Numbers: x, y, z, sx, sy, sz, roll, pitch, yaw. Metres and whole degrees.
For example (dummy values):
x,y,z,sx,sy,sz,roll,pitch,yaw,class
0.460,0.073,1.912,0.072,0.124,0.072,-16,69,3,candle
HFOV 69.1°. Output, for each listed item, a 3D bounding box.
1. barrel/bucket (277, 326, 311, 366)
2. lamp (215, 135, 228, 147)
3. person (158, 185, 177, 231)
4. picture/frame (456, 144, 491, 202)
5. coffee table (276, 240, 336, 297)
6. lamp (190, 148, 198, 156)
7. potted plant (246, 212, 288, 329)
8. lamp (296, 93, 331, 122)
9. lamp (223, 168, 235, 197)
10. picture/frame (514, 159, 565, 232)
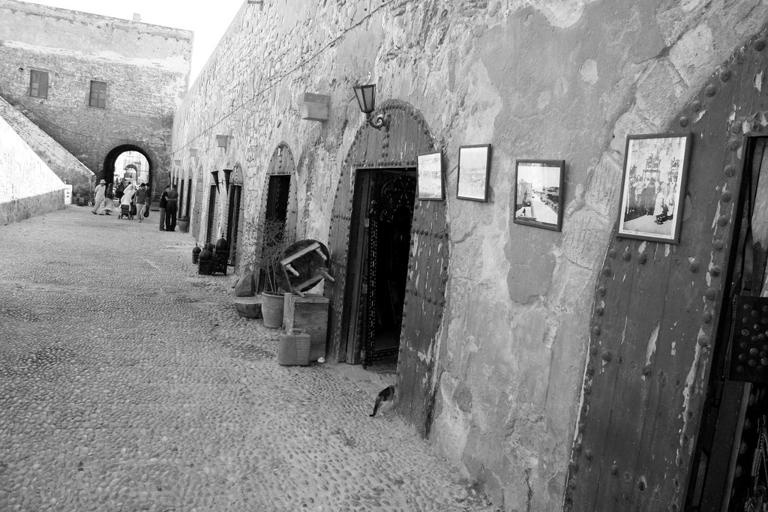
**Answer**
x,y,z,sx,sy,sz,roll,pitch,yaw,class
-1.069,1.084,6.762,0.488,0.562,0.307,1,5,-9,barrel/bucket
-3.987,-2.831,13.778,0.287,0.312,0.310,2,9,-17,lamp
-8.150,-1.714,21.069,0.540,1.509,1.140,1,9,-23,person
0.733,-0.670,4.494,0.039,0.441,0.406,-2,10,-20,picture/frame
-0.993,0.150,7.049,0.694,0.729,0.518,3,8,-11,coffee table
-6.797,-3.694,19.958,0.293,0.325,0.213,5,13,14,lamp
-1.704,0.256,8.720,0.529,1.645,0.725,3,-3,-33,potted plant
-0.903,-1.983,7.442,0.299,0.351,0.309,-1,10,-33,lamp
-3.660,-1.767,13.085,0.122,0.522,0.562,1,9,-22,lamp
1.096,-0.426,3.892,0.028,0.485,0.438,-3,9,-25,picture/frame
